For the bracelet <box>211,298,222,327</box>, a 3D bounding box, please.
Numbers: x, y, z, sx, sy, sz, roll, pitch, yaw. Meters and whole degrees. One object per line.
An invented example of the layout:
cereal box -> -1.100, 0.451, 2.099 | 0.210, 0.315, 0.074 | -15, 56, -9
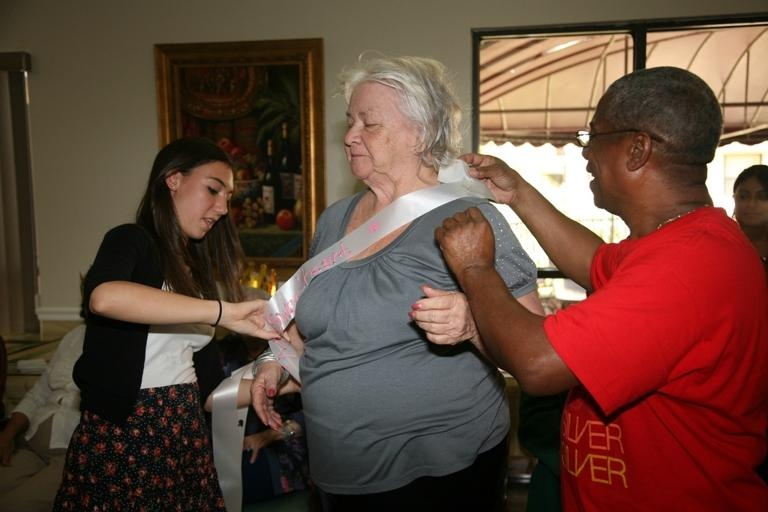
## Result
bracelet -> -0.573, 0.200, 2.193 | 0.040, 0.100, 0.092 | -5, 10, -15

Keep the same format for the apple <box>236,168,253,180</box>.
apple -> -0.880, -0.511, 4.067 | 0.077, 0.091, 0.078 | 5, -2, 17

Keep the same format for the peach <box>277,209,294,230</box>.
peach -> -0.619, -0.216, 4.059 | 0.120, 0.118, 0.119 | 10, -37, -22
